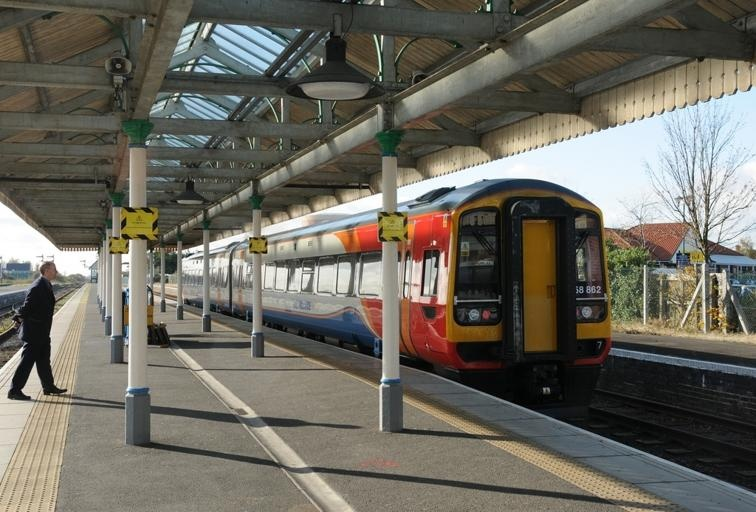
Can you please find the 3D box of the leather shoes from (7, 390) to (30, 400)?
[{"bbox_3d":[-6.495,2.500,11.971,0.496,0.183,0.157,1,1,-12],"label":"leather shoes"}]

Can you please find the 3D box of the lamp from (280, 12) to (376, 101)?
[{"bbox_3d":[-0.555,-2.666,8.471,1.029,1.095,1.030,5,7,35],"label":"lamp"}]

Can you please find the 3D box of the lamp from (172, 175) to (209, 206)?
[{"bbox_3d":[-4.783,-1.581,17.156,0.944,0.861,0.928,2,-5,-40],"label":"lamp"}]
